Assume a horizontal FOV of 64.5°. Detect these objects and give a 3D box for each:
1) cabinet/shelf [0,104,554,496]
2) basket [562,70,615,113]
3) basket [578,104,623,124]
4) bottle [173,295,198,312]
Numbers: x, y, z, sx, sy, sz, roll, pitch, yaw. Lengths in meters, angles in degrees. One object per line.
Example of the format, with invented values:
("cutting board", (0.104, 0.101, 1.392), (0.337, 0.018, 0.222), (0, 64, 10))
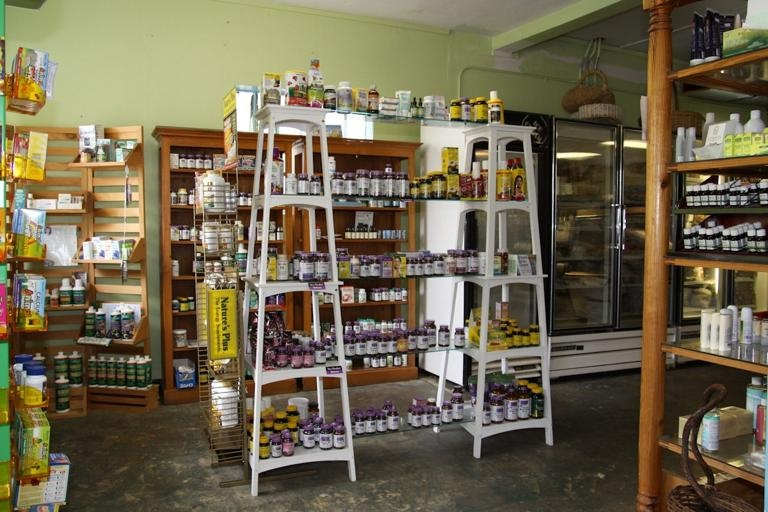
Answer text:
("cabinet/shelf", (-1.156, 0.426, 5.775), (4.733, 2.653, 1.041), (-2, 3, -30))
("basket", (2.776, -2.209, 8.117), (0.759, 0.497, 0.681), (-4, 11, -22))
("basket", (2.624, -1.739, 7.454), (0.386, 0.107, 0.379), (2, 2, 38))
("bottle", (-2.227, 0.538, 6.756), (0.301, 0.209, 0.158), (2, -2, -3))
